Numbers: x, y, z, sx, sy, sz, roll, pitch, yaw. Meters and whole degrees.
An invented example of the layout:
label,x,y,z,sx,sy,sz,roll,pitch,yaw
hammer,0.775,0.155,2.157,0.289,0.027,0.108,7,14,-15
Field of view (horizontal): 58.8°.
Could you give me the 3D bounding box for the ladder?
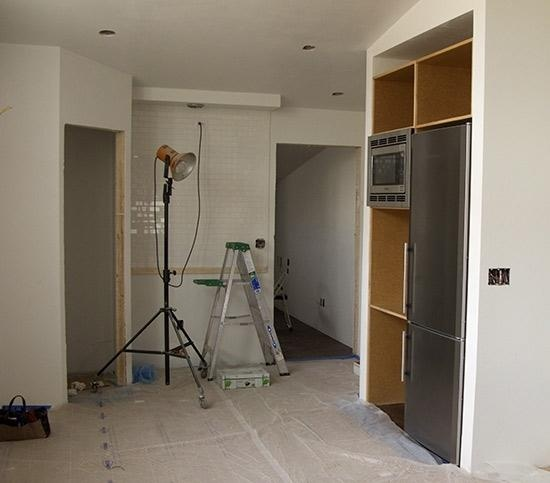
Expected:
label,x,y,z,sx,sy,sz,roll,pitch,yaw
ladder,-0.333,0.674,4.943,0.950,1.332,0.727,0,3,-11
